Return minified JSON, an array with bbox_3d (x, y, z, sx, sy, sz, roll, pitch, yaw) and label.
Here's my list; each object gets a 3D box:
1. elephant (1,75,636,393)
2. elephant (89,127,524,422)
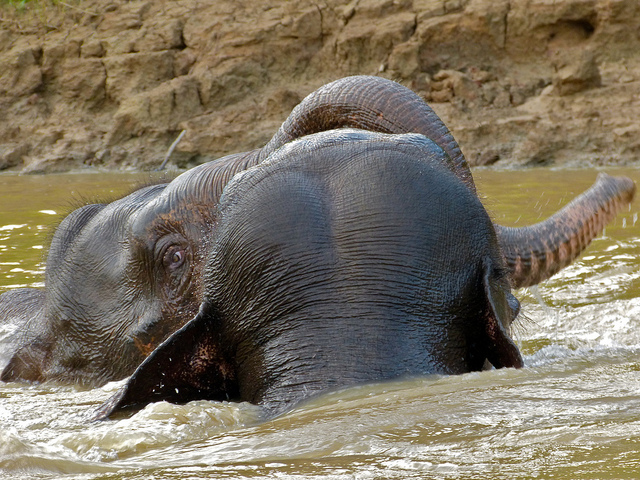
[{"bbox_3d":[-0.324,0.062,5.311,2.312,0.735,1.597,-4,0,26],"label":"elephant"},{"bbox_3d":[0.026,0.092,5.115,1.877,1.059,1.115,0,7,-3],"label":"elephant"}]
